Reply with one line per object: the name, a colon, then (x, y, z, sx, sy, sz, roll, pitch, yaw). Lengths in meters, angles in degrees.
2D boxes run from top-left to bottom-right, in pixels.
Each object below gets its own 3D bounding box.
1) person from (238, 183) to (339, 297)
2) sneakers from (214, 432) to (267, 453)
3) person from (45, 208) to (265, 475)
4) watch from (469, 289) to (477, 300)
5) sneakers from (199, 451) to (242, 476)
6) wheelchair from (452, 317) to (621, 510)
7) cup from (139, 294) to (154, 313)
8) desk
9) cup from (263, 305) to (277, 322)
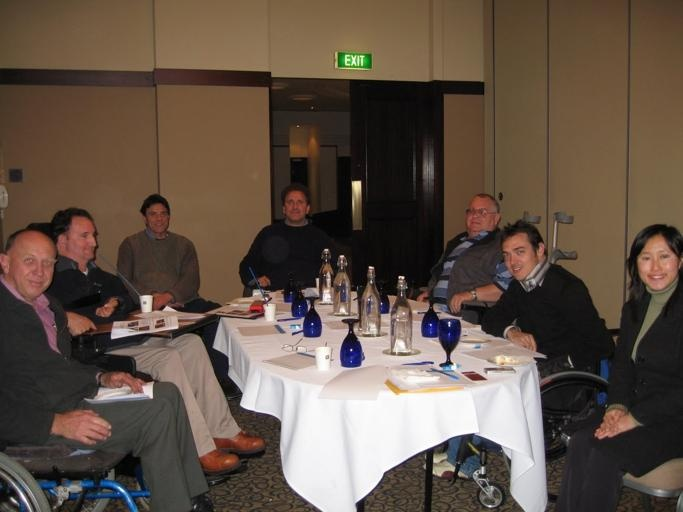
person: (-0.423, 0.110, 5.110, 0.895, 1.410, 0.759, 0, 5, -21)
sneakers: (-0.638, 1.140, 3.622, 0.268, 0.131, 0.129, -3, 6, -6)
person: (-1.126, 0.514, 3.674, 0.607, 1.590, 1.280, -4, 35, -10)
watch: (0.948, 0.275, 4.235, 0.043, 0.068, 0.070, 4, -8, 5)
sneakers: (-0.708, 1.201, 3.416, 0.236, 0.117, 0.111, -2, 5, 6)
wheelchair: (0.951, 0.693, 3.270, 0.873, 1.112, 0.743, 0, -12, 38)
cup: (-1.301, 0.312, 3.869, 0.103, 0.109, 0.087, 3, 3, 31)
desk: (0.126, 0.871, 2.919, 1.674, 0.764, 0.928, 0, 12, 19)
cup: (-0.445, 0.356, 3.721, 0.087, 0.109, 0.092, 0, 6, 0)
